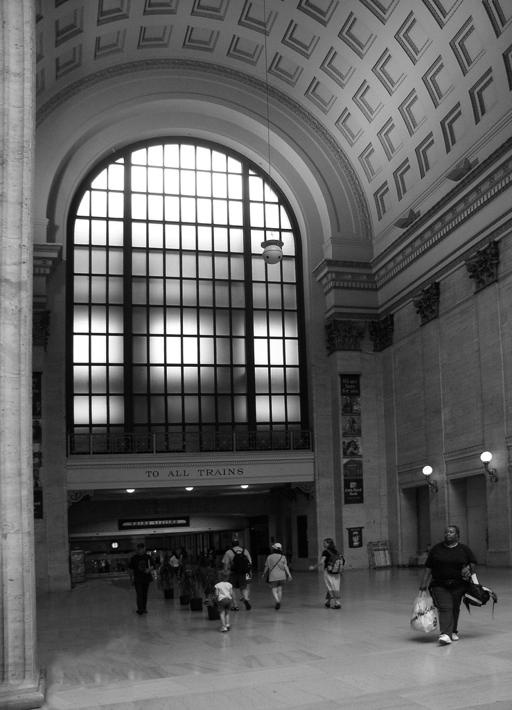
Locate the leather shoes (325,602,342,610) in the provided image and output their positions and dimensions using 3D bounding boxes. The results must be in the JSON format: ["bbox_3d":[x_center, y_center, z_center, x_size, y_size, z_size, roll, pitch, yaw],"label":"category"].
[{"bbox_3d":[1.281,4.169,12.578,0.121,0.152,0.382,5,-17,-24],"label":"leather shoes"}]

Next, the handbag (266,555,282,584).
[{"bbox_3d":[0.317,3.807,13.512,0.335,0.471,0.603,-3,-10,0],"label":"handbag"}]

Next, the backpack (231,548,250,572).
[{"bbox_3d":[-0.289,3.856,14.079,0.325,0.495,0.493,-2,-10,-3],"label":"backpack"}]

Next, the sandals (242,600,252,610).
[{"bbox_3d":[-0.158,4.376,13.195,0.080,0.270,0.090,-10,-4,14],"label":"sandals"}]

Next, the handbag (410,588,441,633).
[{"bbox_3d":[1.734,2.668,7.909,0.266,0.442,0.391,-5,-10,14],"label":"handbag"}]

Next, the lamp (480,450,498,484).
[{"bbox_3d":[5.706,2.781,18.753,0.330,0.780,0.566,-5,-10,12],"label":"lamp"}]
